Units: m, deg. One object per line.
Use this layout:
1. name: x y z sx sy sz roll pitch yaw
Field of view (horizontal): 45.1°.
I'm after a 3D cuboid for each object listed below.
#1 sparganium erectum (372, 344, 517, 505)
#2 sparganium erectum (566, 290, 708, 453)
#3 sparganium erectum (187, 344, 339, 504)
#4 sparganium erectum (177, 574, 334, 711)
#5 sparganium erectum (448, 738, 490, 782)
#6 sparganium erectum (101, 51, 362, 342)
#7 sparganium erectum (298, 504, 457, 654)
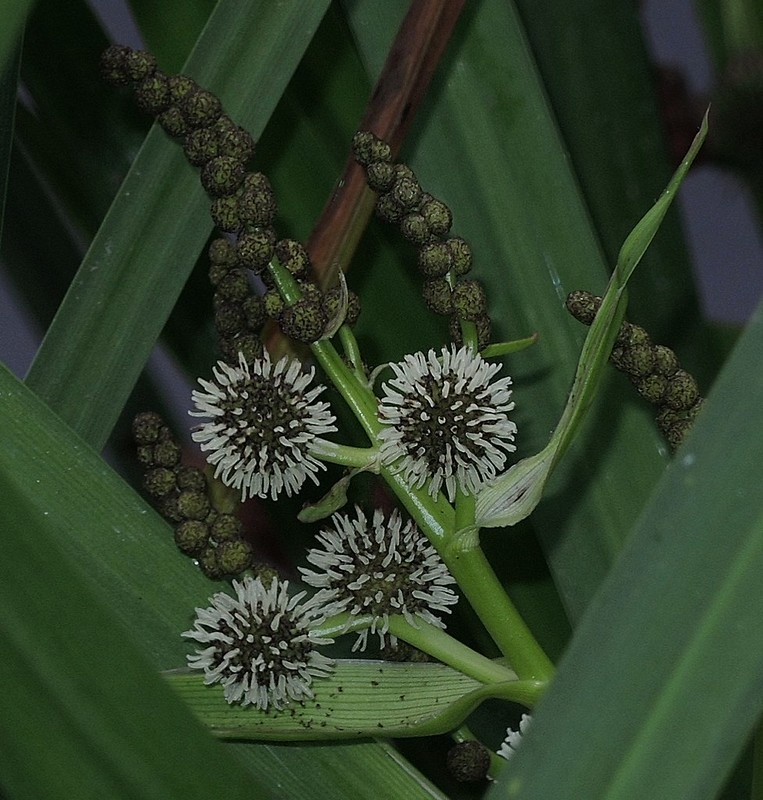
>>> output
1. sparganium erectum: 0.040 0.015 0.591 0.085 0.100 0.076 2 -12 -5
2. sparganium erectum: 0.179 -0.017 0.641 0.034 0.132 0.039 -38 -12 -5
3. sparganium erectum: -0.085 0.004 0.597 0.079 0.042 0.081 32 -16 -19
4. sparganium erectum: -0.081 0.148 0.601 0.081 0.036 0.085 12 -6 19
5. sparganium erectum: 0.060 0.249 0.615 0.028 0.028 0.017 -22 -4 0
6. sparganium erectum: -0.110 -0.142 0.653 0.184 0.235 0.167 5 -13 -17
7. sparganium erectum: 0.002 0.121 0.664 0.106 0.097 0.039 36 5 -2
